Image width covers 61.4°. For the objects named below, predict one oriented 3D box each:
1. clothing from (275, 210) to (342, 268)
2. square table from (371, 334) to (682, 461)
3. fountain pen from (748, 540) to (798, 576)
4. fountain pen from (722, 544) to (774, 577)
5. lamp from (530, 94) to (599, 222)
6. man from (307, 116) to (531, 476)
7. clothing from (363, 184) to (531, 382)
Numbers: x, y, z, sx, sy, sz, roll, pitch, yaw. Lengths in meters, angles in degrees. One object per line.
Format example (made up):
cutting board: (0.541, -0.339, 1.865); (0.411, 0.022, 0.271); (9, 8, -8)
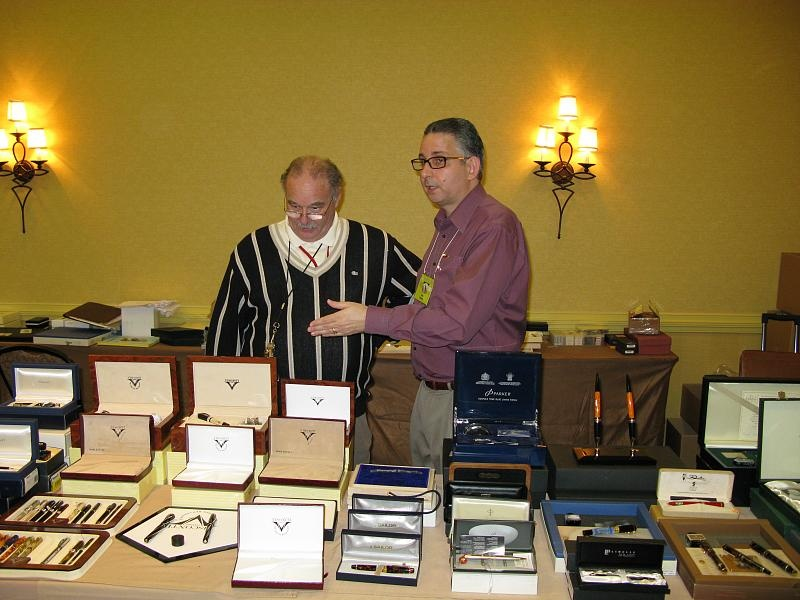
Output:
clothing: (-0.400, -0.264, 3.011); (0.270, 0.220, 0.130); (-1, 5, -9)
square table: (0.761, 0.641, 4.876); (2.706, 0.648, 1.209); (0, -1, -3)
fountain pen: (1.277, 0.882, 2.306); (0.027, 0.038, 0.163); (46, -2, -19)
fountain pen: (1.179, 0.887, 2.294); (0.194, 0.038, 0.050); (25, 44, 30)
lamp: (1.155, -0.925, 4.741); (0.459, 0.950, 0.254); (2, 5, 13)
man: (0.013, 0.205, 3.131); (1.162, 1.921, 0.891); (0, 15, 3)
clothing: (0.213, -0.063, 2.822); (0.559, 0.854, 0.436); (2, 5, 23)
